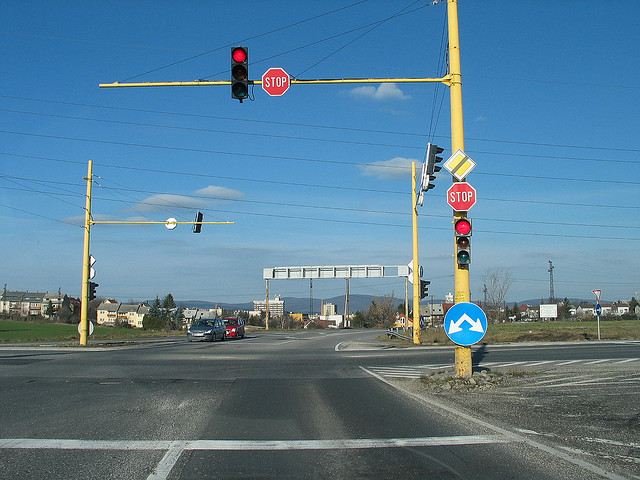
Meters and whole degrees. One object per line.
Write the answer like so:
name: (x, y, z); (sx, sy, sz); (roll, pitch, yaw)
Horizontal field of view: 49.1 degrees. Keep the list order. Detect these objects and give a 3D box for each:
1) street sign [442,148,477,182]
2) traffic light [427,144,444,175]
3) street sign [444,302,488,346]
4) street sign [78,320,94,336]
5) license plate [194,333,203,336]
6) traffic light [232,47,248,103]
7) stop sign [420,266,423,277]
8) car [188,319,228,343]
street sign: (3.704, -2.040, 18.755); (0.741, 0.886, 0.457); (-2, -8, 11)
traffic light: (4.060, -2.877, 25.065); (0.616, 1.019, 0.469); (5, -9, -32)
street sign: (3.789, 2.178, 18.311); (1.110, 1.226, 0.094); (-1, 19, 13)
street sign: (-12.290, 4.641, 36.740); (0.603, 0.827, 2.883); (2, -9, -16)
license plate: (-7.214, 5.578, 41.324); (0.477, 0.150, 0.120); (1, -8, -10)
traffic light: (-2.085, -4.302, 18.103); (0.403, 1.261, 0.456); (1, -8, -8)
stop sign: (5.336, 1.700, 37.355); (0.078, 0.390, 0.499); (-3, -9, 24)
car: (-6.975, 5.510, 42.633); (1.336, 1.423, 2.921); (-2, -9, 9)
